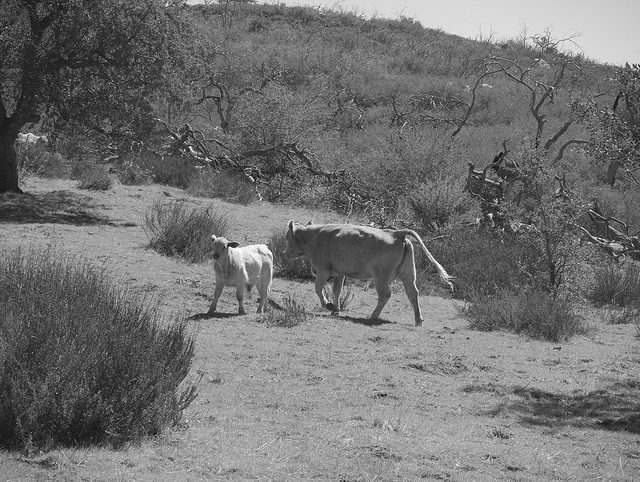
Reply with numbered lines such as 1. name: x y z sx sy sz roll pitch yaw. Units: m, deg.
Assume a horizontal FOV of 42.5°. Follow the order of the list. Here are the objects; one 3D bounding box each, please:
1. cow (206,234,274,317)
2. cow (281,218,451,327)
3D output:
1. cow: -1.363 0.650 14.406 0.535 1.367 1.898 5 -1 29
2. cow: 0.658 0.610 15.331 3.219 2.033 0.806 4 5 27
